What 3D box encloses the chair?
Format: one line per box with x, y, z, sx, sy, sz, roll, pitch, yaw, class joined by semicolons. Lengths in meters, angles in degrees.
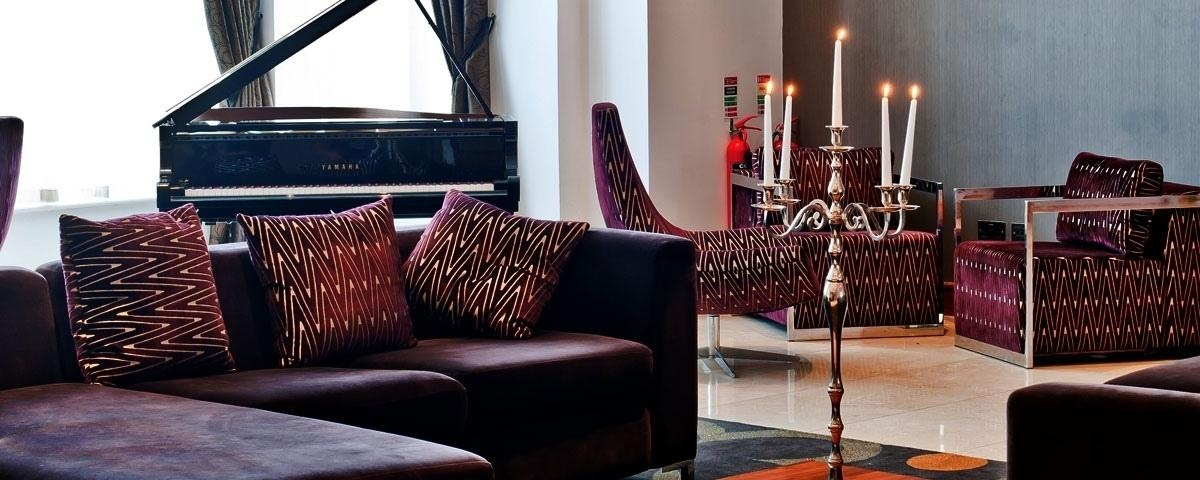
2.587;-0.216;8.254;5.386;1.851;2.410;-2;3;-7;chair

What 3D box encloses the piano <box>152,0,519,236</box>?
-2.567;-1.162;8.068;4.015;2.548;1.671;0;0;-11;piano
